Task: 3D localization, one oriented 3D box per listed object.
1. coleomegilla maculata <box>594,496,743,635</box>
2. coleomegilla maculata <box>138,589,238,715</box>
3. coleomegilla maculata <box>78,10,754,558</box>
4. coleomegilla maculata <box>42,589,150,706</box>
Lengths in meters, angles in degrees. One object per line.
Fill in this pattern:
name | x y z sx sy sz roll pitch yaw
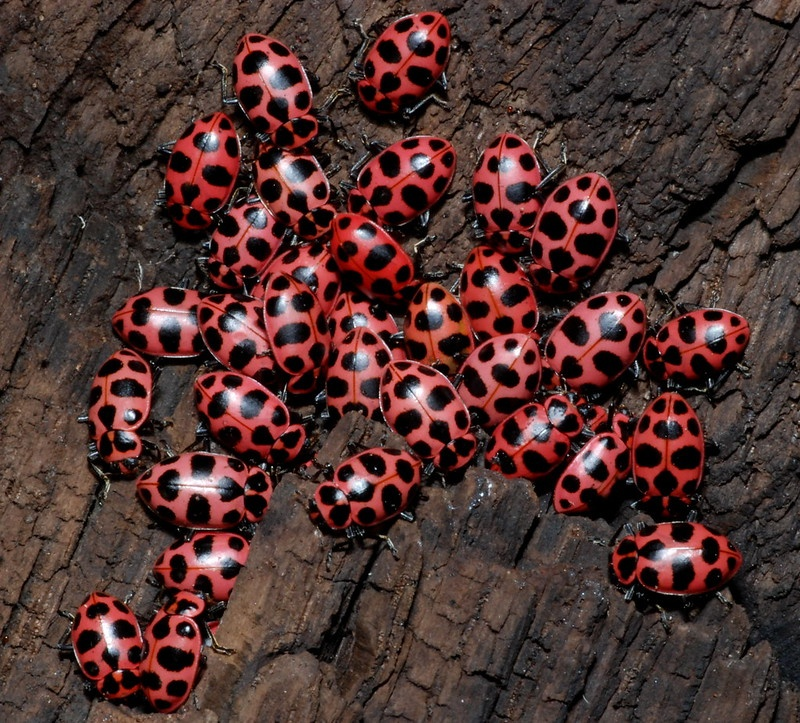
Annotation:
coleomegilla maculata | 2.219 1.663 9.278 1.172 1.007 0.393 -8 -41 9
coleomegilla maculata | -1.828 2.360 9.185 0.858 0.835 1.071 -6 18 -22
coleomegilla maculata | 0.234 -0.662 9.483 4.796 4.753 0.986 0 0 3
coleomegilla maculata | -2.367 2.320 9.157 0.907 0.914 0.298 -14 -18 -10
